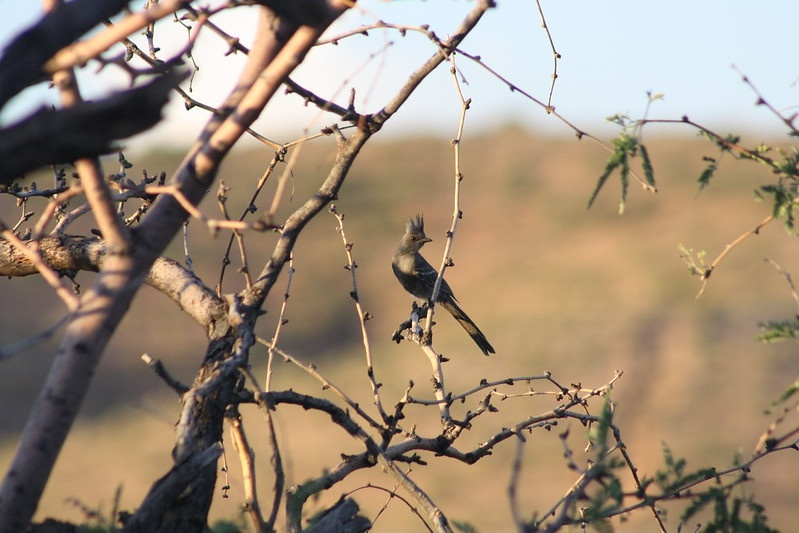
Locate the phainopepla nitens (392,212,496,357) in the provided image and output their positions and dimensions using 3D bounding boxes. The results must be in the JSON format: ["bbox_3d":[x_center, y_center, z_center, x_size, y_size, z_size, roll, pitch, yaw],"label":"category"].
[{"bbox_3d":[0.247,0.248,10.189,0.938,0.492,1.353,-4,-95,21],"label":"phainopepla nitens"}]
